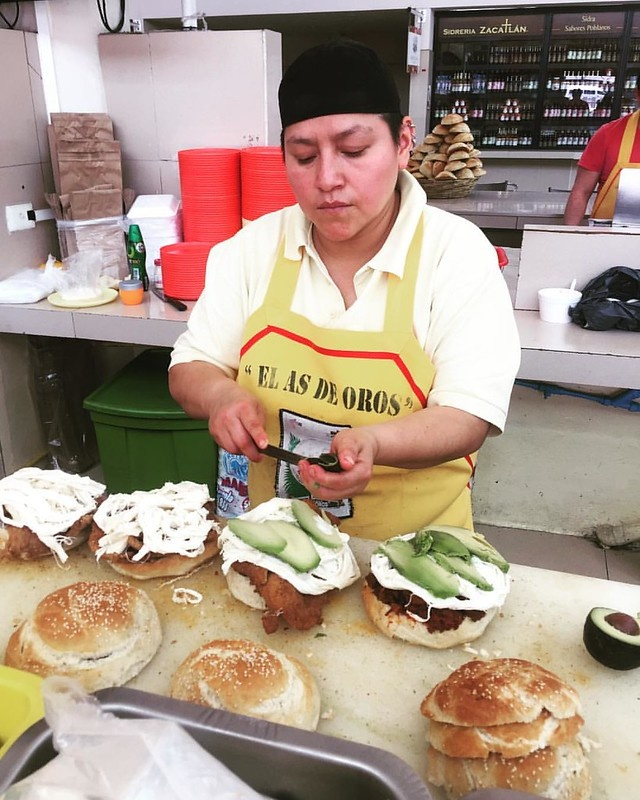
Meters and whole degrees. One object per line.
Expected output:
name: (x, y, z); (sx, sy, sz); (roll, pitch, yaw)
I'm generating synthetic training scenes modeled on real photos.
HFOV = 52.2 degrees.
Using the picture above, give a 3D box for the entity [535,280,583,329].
entity: (0.858, -0.342, 2.352); (0.152, 0.160, 0.178); (-6, 17, -14)

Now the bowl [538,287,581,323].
bowl: (0.845, -0.348, 2.376); (0.143, 0.095, 0.132); (1, 23, 0)

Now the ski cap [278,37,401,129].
ski cap: (0.068, -0.515, 1.059); (0.127, 0.074, 0.124); (-17, 22, -27)

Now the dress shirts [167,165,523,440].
dress shirts: (0.063, -0.211, 1.391); (0.784, 0.518, 0.399); (11, 39, 22)

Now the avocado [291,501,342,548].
avocado: (-0.010, 0.204, 1.062); (0.055, 0.018, 0.086); (18, 23, -47)

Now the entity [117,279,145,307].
entity: (-0.757, -0.438, 2.638); (0.094, 0.096, 0.121); (-5, 23, -16)

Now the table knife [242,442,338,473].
table knife: (-0.043, 0.109, 1.054); (0.168, 0.047, 0.044); (8, 49, 43)
